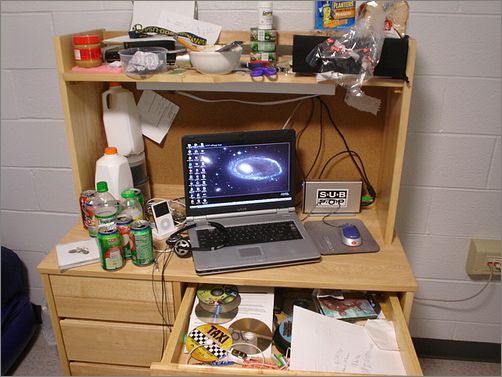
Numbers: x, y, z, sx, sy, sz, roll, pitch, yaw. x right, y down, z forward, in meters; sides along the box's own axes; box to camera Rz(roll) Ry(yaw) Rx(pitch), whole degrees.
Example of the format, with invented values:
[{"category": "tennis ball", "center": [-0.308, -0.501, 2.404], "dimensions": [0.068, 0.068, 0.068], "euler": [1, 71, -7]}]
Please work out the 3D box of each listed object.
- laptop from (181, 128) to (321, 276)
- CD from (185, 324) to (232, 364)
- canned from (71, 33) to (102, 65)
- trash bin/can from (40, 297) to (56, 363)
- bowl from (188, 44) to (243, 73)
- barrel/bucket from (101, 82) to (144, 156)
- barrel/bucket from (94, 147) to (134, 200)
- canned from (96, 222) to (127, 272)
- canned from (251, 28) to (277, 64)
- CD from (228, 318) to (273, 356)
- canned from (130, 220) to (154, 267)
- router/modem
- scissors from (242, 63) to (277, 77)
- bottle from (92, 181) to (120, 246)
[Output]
[{"category": "laptop", "center": [-0.039, 0.106, 1.647], "dimensions": [0.675, 0.479, 0.529], "euler": [-5, 34, -9]}, {"category": "CD", "center": [-0.143, 0.523, 1.341], "dimensions": [0.154, 0.057, 0.125], "euler": [-3, 20, -11]}, {"category": "canned", "center": [-0.611, -0.514, 1.489], "dimensions": [0.095, 0.115, 0.102], "euler": [-4, 28, -16]}, {"category": "trash bin/can", "center": [-1.107, 0.776, 2.165], "dimensions": [0.093, 0.366, 0.127], "euler": [-7, 26, -22]}, {"category": "bowl", "center": [-0.132, -0.474, 1.460], "dimensions": [0.188, 0.099, 0.145], "euler": [-1, 20, -4]}, {"category": "barrel/bucket", "center": [-0.550, -0.309, 1.753], "dimensions": [0.170, 0.296, 0.194], "euler": [-7, 28, -18]}, {"category": "barrel/bucket", "center": [-0.533, -0.069, 1.660], "dimensions": [0.146, 0.208, 0.193], "euler": [-1, 26, -5]}, {"category": "canned", "center": [-0.510, 0.215, 1.427], "dimensions": [0.074, 0.173, 0.042], "euler": [-9, 24, -24]}, {"category": "canned", "center": [0.044, -0.540, 1.498], "dimensions": [0.095, 0.127, 0.085], "euler": [2, 21, 3]}, {"category": "CD", "center": [0.000, 0.508, 1.377], "dimensions": [0.110, 0.020, 0.100], "euler": [4, 37, -2]}, {"category": "canned", "center": [-0.403, 0.199, 1.449], "dimensions": [0.083, 0.177, 0.058], "euler": [-5, 23, -16]}, {"category": "router/modem", "center": [0.351, 0.040, 1.707], "dimensions": [0.269, 0.133, 0.146], "euler": [1, 24, 1]}, {"category": "scissors", "center": [0.035, -0.433, 1.437], "dimensions": [0.077, 0.017, 0.076], "euler": [-25, 39, -33]}, {"category": "bottle", "center": [-0.558, 0.094, 1.523], "dimensions": [0.109, 0.233, 0.096], "euler": [7, 23, 6]}]
